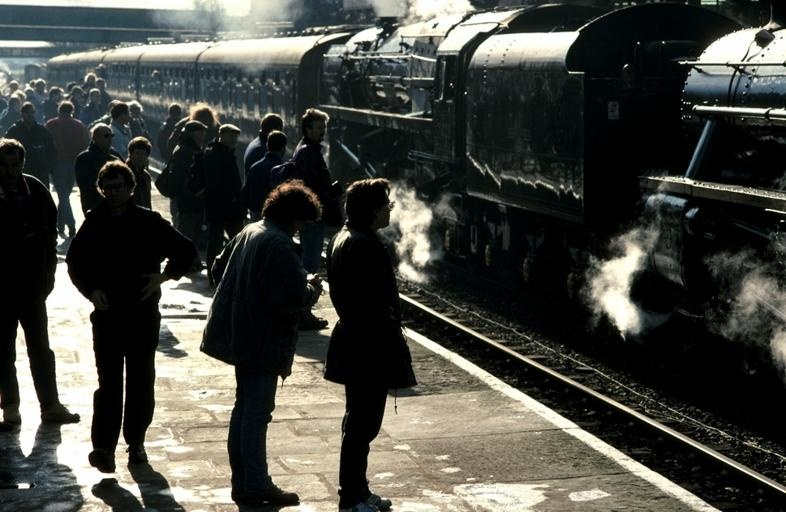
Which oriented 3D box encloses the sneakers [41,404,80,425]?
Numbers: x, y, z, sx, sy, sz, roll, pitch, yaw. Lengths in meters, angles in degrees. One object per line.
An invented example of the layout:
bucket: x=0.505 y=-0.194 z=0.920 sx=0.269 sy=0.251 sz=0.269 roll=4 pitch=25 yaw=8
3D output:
sneakers: x=-2.714 y=1.323 z=7.323 sx=0.372 sy=0.165 sz=0.129 roll=1 pitch=3 yaw=-10

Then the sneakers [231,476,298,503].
sneakers: x=-0.884 y=1.653 z=6.140 sx=0.476 sy=0.227 sz=0.174 roll=0 pitch=1 yaw=-9

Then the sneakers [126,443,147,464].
sneakers: x=-1.910 y=1.484 z=6.574 sx=0.133 sy=0.148 sz=0.139 roll=-2 pitch=6 yaw=-21

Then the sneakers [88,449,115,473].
sneakers: x=-2.093 y=1.479 z=6.350 sx=0.112 sy=0.241 sz=0.160 roll=-4 pitch=5 yaw=-5

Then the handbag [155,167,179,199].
handbag: x=-3.226 y=-1.045 z=12.587 sx=0.309 sy=0.440 sz=0.150 roll=9 pitch=12 yaw=33
